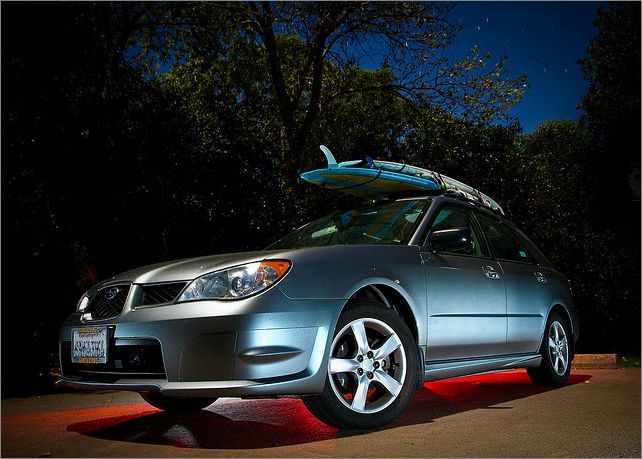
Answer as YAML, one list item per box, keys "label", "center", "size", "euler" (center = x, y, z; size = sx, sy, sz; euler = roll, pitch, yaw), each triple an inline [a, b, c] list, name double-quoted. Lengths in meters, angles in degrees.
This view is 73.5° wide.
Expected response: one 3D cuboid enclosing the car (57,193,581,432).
- label: "car"
  center: [0.499, 0.811, 4.354]
  size: [4.397, 1.648, 2.307]
  euler: [19, -27, -40]
